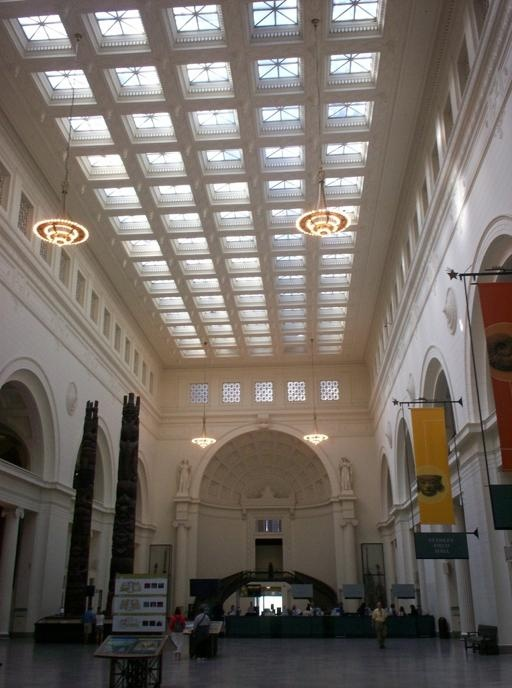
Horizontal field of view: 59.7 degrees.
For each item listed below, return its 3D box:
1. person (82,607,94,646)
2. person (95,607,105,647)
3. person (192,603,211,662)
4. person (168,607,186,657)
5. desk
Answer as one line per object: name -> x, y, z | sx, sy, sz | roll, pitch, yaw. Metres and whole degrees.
person -> -4.895, 8.268, 13.103 | 0.367, 0.895, 1.052 | 7, -26, -17
person -> -4.649, 8.461, 13.301 | 0.270, 0.717, 0.729 | 6, -25, -16
person -> -1.227, 6.351, 10.047 | 0.356, 1.123, 0.298 | -2, 12, -10
person -> -1.836, 6.708, 10.481 | 0.331, 1.072, 0.312 | 1, -10, -10
desk -> 2.728, 11.563, 18.350 | 8.196, 0.860, 1.152 | -7, -25, 12
